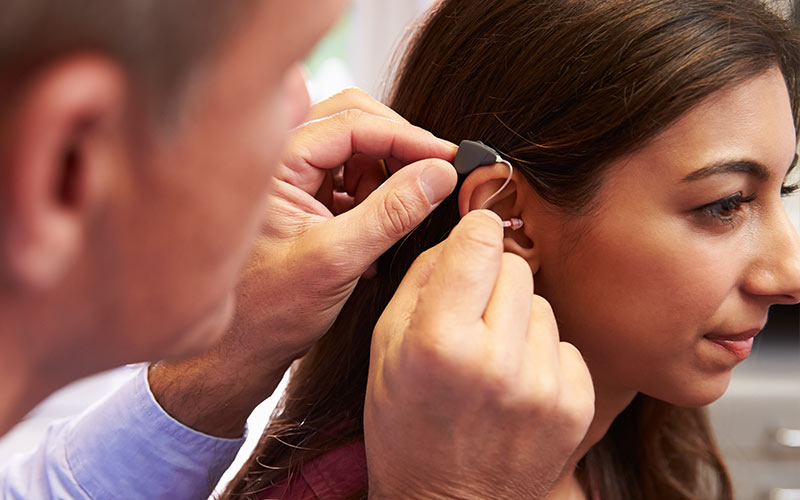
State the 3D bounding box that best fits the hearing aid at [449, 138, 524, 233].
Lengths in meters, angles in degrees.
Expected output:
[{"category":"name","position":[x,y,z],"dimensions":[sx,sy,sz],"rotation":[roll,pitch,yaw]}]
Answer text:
[{"category":"hearing aid","position":[0.185,-0.129,1.386],"dimensions":[0.167,0.094,0.060],"rotation":[45,41,-5]}]
